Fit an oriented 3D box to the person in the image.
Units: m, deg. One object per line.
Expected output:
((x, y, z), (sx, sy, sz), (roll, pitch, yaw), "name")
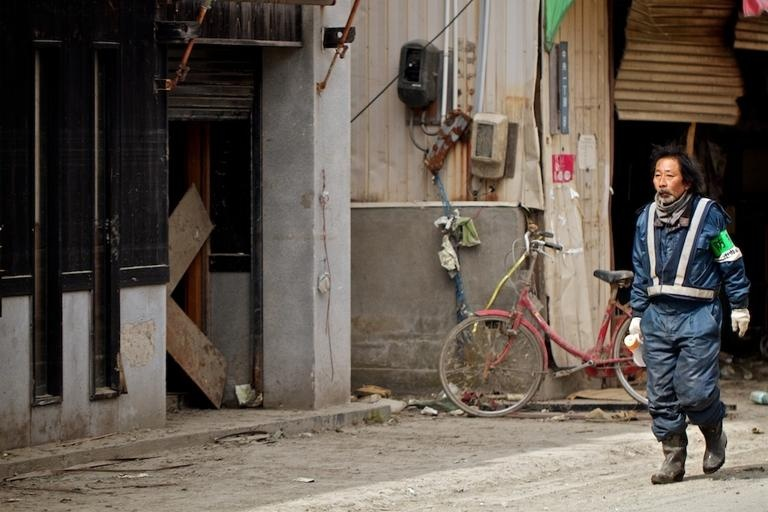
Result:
((2.922, 0.563, 12.407), (1.089, 3.149, 0.747), (3, 9, 11), "person")

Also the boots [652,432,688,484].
((2.748, 1.925, 12.412), (0.220, 0.489, 0.474), (3, 12, 41), "boots")
